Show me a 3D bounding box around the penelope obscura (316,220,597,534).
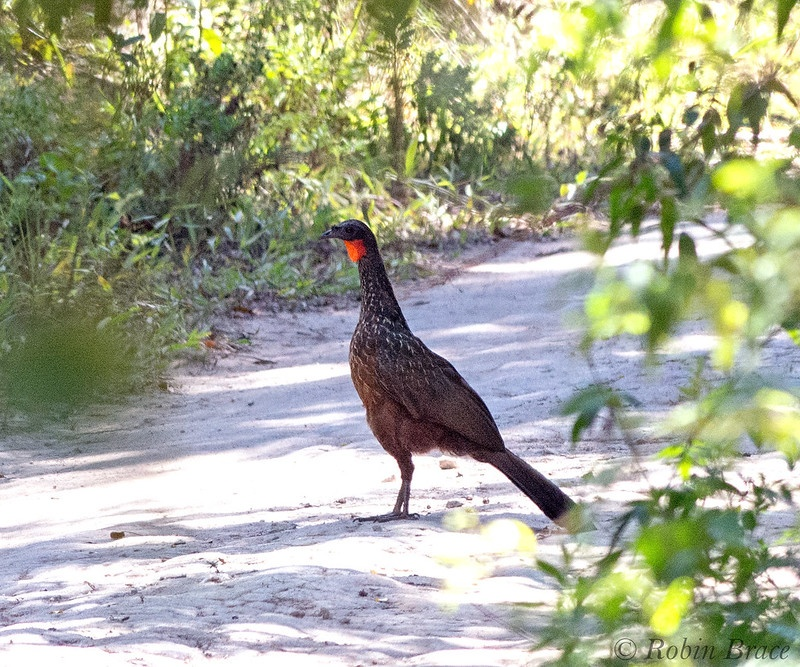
[{"bbox_3d":[0.126,0.129,4.756,0.655,1.300,1.445,-6,7,-19],"label":"penelope obscura"}]
